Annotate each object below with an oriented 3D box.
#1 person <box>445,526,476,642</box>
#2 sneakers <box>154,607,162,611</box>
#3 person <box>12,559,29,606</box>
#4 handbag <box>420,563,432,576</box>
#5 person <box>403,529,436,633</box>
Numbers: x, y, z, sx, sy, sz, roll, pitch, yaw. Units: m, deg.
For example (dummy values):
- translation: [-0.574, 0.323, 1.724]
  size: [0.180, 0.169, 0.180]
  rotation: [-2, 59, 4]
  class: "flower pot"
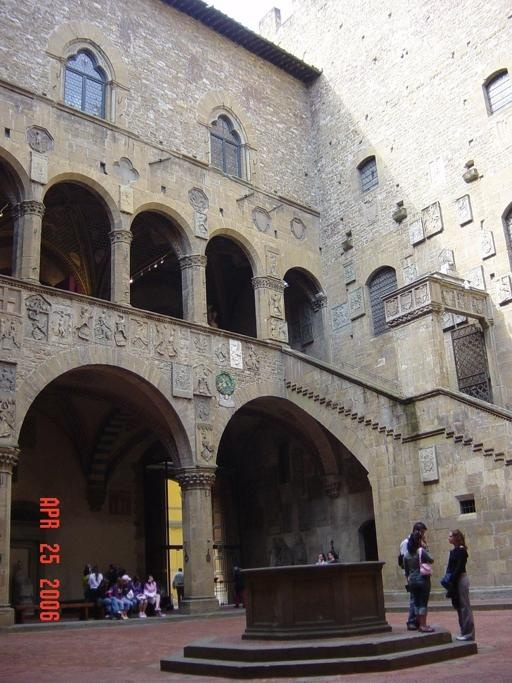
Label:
- translation: [1.807, 2.172, 5.915]
  size: [0.240, 0.920, 0.924]
  rotation: [-9, -16, 14]
  class: "person"
- translation: [-2.129, 5.916, 14.562]
  size: [0.123, 0.112, 0.264]
  rotation: [7, -23, -8]
  class: "sneakers"
- translation: [-6.084, 6.213, 17.112]
  size: [0.399, 1.049, 1.182]
  rotation: [1, -17, -19]
  class: "person"
- translation: [1.563, 2.107, 6.126]
  size: [0.149, 0.139, 0.065]
  rotation: [4, -18, -9]
  class: "handbag"
- translation: [1.507, 2.212, 6.159]
  size: [0.308, 0.870, 0.860]
  rotation: [-8, -16, 11]
  class: "person"
